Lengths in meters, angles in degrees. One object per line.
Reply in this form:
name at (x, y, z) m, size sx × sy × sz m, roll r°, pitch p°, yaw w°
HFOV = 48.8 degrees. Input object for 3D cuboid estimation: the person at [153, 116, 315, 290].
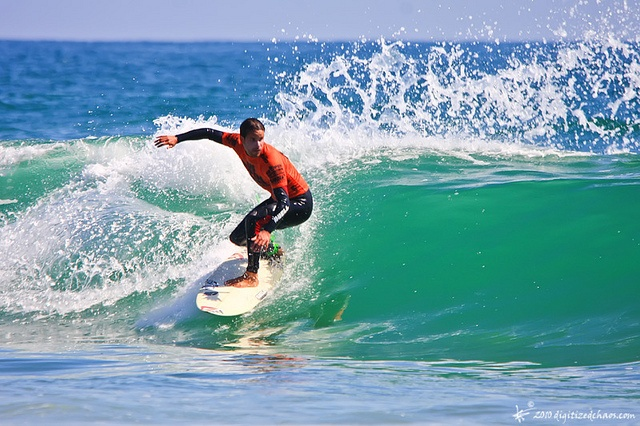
person at (-1.034, -0.437, 10.916) m, size 1.727 × 2.054 × 0.980 m, roll 2°, pitch 11°, yaw 4°
